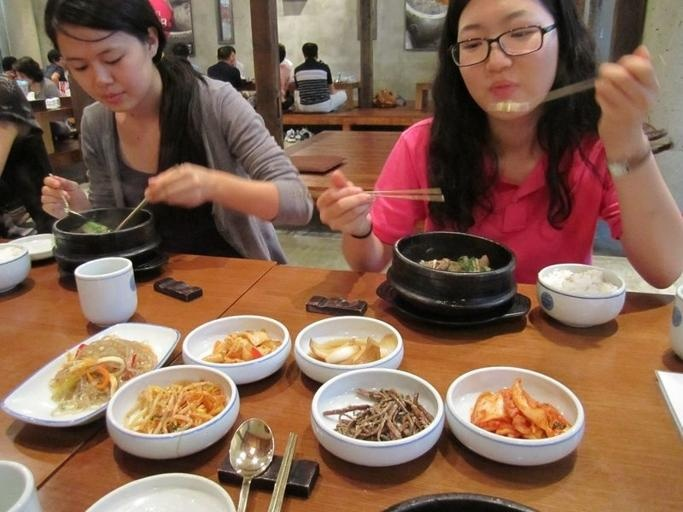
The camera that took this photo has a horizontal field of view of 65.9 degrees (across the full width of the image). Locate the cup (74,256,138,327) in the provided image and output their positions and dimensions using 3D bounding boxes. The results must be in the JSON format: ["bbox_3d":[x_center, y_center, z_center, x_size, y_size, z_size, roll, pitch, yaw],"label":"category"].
[{"bbox_3d":[-0.742,0.117,1.683,0.182,0.205,0.176,5,8,-1],"label":"cup"}]

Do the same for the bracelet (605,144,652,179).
[{"bbox_3d":[0.938,-0.318,1.730,0.105,0.082,0.104,-38,36,-6],"label":"bracelet"}]

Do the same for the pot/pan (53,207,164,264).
[{"bbox_3d":[-0.909,-0.054,2.055,0.374,0.156,0.413,6,18,17],"label":"pot/pan"}]

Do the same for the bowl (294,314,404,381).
[{"bbox_3d":[0.017,0.270,1.453,0.298,0.123,0.315,0,15,0],"label":"bowl"}]

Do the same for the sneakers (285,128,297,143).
[{"bbox_3d":[-0.736,-1.739,7.632,0.122,0.171,0.379,-22,18,-23],"label":"sneakers"}]

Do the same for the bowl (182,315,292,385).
[{"bbox_3d":[-0.296,0.279,1.490,0.297,0.129,0.319,-3,13,1],"label":"bowl"}]

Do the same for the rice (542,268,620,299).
[{"bbox_3d":[0.724,0.082,1.626,0.118,0.059,0.119,-14,15,-34],"label":"rice"}]

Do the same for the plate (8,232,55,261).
[{"bbox_3d":[-1.241,-0.037,2.147,0.169,0.036,0.167,-11,23,-40],"label":"plate"}]

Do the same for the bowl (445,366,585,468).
[{"bbox_3d":[0.368,0.391,1.282,0.276,0.110,0.283,5,18,-2],"label":"bowl"}]

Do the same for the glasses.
[{"bbox_3d":[0.557,-0.714,1.790,0.312,0.124,0.153,4,27,16],"label":"glasses"}]

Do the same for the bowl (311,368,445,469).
[{"bbox_3d":[0.086,0.377,1.255,0.304,0.084,0.242,-2,26,5],"label":"bowl"}]
